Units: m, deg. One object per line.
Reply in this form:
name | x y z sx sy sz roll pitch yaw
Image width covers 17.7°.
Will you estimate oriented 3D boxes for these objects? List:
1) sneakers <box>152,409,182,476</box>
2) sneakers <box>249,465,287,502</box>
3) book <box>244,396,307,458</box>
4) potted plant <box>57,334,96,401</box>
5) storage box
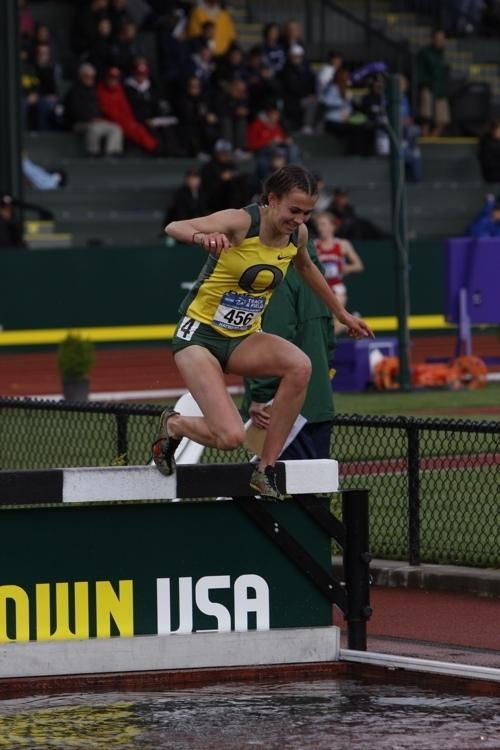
sneakers | -0.311 0.259 5.976 0.081 0.251 0.097 15 -32 -36
sneakers | 0.064 0.403 5.943 0.128 0.137 0.127 -1 4 -13
book | 0.103 0.225 6.989 0.084 0.259 0.256 -5 47 -52
potted plant | -1.514 -0.065 13.821 0.327 0.632 1.274 0 4 -7
storage box | 1.357 -0.190 18.497 0.782 0.797 0.796 1 12 9
